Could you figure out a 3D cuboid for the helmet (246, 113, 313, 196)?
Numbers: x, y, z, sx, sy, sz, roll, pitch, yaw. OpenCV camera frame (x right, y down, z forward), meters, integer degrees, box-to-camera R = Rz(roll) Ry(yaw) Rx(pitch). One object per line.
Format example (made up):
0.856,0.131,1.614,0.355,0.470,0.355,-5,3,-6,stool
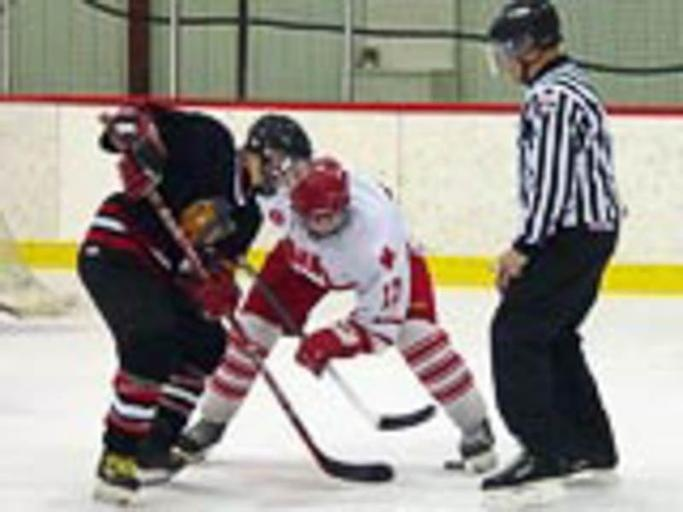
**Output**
-0.207,-0.349,4.125,0.260,0.301,0.261,1,-5,15,helmet

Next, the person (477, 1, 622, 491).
0.709,-0.035,3.932,0.446,1.617,0.293,1,8,6,person

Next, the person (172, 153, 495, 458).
-0.046,0.234,4.350,1.065,1.168,0.651,12,18,38,person

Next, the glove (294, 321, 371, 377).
-0.029,0.288,3.682,0.202,0.074,0.150,-18,53,-4,glove

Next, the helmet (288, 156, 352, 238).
-0.051,-0.188,3.837,0.198,0.241,0.166,9,3,23,helmet
